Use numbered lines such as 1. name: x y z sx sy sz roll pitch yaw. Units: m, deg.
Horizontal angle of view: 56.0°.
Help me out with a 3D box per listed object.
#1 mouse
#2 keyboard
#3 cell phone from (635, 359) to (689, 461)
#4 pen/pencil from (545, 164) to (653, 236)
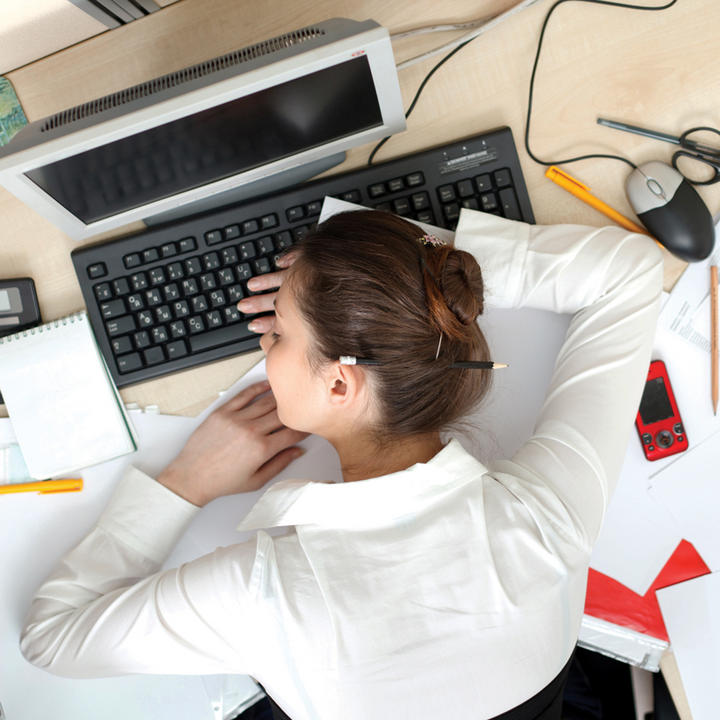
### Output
1. mouse: 0.486 -0.228 1.071 0.097 0.174 0.047 -40 0 10
2. keyboard: -0.114 -0.142 1.020 0.818 0.235 0.078 -10 5 27
3. cell phone: 0.456 0.077 1.043 0.081 0.148 0.026 -17 -8 -1
4. pen/pencil: 0.376 -0.253 1.056 0.022 0.181 0.020 -56 2 -6
